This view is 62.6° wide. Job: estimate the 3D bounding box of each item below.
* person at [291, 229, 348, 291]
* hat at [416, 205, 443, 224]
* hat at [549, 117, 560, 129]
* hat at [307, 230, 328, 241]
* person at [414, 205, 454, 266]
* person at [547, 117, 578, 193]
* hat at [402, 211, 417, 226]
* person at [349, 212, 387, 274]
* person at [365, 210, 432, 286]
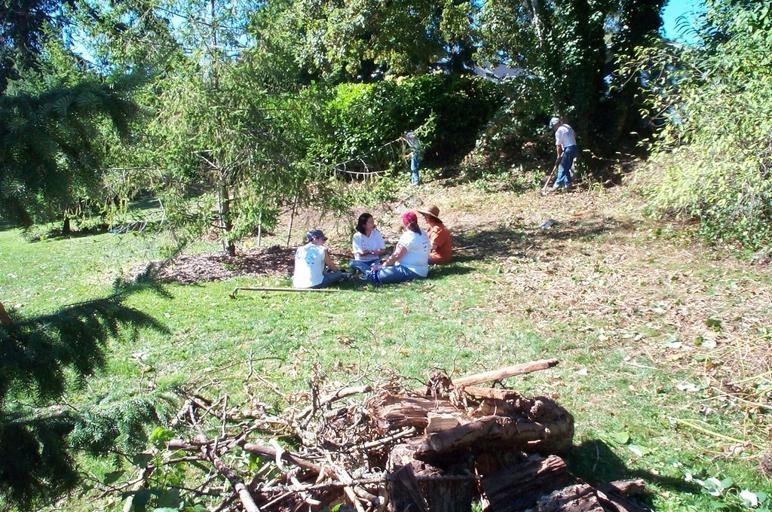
[{"bbox_3d":[-1.145,-0.009,11.466,1.128,0.983,1.005,-5,13,-20],"label":"person"},{"bbox_3d":[0.949,-0.845,12.218,0.389,0.133,0.409,19,-12,29],"label":"hat"},{"bbox_3d":[4.287,-3.405,16.129,0.291,0.221,0.423,-26,-3,27],"label":"hat"},{"bbox_3d":[-1.208,-0.354,11.268,0.290,0.154,0.202,-10,15,-43],"label":"hat"},{"bbox_3d":[0.884,-0.395,12.182,0.830,1.164,0.736,7,0,6],"label":"person"},{"bbox_3d":[4.383,-2.503,15.659,0.607,1.684,0.988,4,13,12],"label":"person"},{"bbox_3d":[0.448,-0.672,11.493,0.212,0.261,0.271,2,17,4],"label":"hat"},{"bbox_3d":[-0.325,-0.239,11.938,0.685,1.046,0.832,-8,14,-28],"label":"person"},{"bbox_3d":[0.339,-0.112,11.624,0.986,1.286,1.360,-3,-8,20],"label":"person"}]
